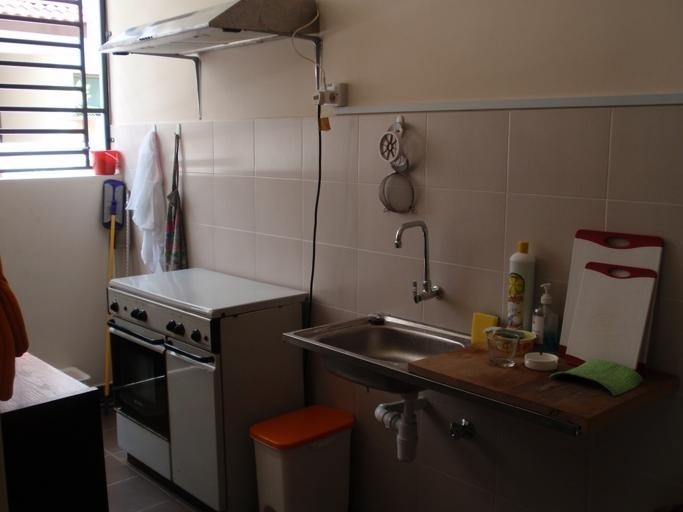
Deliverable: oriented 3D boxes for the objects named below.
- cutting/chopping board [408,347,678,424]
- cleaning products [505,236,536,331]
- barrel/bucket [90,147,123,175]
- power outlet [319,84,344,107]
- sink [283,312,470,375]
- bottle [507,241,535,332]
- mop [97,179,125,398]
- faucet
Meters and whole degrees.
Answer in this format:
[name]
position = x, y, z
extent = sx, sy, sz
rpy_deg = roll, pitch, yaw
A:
[cutting/chopping board]
position = 0.635, 0.416, 1.637
extent = 0.863, 0.054, 0.384
rpy_deg = 3, 12, 10
[cleaning products]
position = 0.664, 0.091, 1.978
extent = 0.097, 0.338, 0.094
rpy_deg = 3, 4, 33
[barrel/bucket]
position = -1.765, -0.695, 4.004
extent = 0.199, 0.156, 0.201
rpy_deg = 1, 3, 0
[power outlet]
position = -0.040, -0.766, 2.523
extent = 0.137, 0.108, 0.048
rpy_deg = 0, 11, -7
[sink]
position = 0.191, 0.359, 2.274
extent = 0.607, 0.201, 0.678
rpy_deg = -5, 14, -38
[bottle]
position = 0.672, 0.107, 2.022
extent = 0.098, 0.331, 0.093
rpy_deg = 1, 3, 0
[mop]
position = -1.734, 0.249, 3.990
extent = 0.130, 1.736, 0.244
rpy_deg = 3, 3, 1
[faucet]
position = 0.317, 0.021, 2.227
extent = 0.222, 0.340, 0.075
rpy_deg = -10, 13, -29
